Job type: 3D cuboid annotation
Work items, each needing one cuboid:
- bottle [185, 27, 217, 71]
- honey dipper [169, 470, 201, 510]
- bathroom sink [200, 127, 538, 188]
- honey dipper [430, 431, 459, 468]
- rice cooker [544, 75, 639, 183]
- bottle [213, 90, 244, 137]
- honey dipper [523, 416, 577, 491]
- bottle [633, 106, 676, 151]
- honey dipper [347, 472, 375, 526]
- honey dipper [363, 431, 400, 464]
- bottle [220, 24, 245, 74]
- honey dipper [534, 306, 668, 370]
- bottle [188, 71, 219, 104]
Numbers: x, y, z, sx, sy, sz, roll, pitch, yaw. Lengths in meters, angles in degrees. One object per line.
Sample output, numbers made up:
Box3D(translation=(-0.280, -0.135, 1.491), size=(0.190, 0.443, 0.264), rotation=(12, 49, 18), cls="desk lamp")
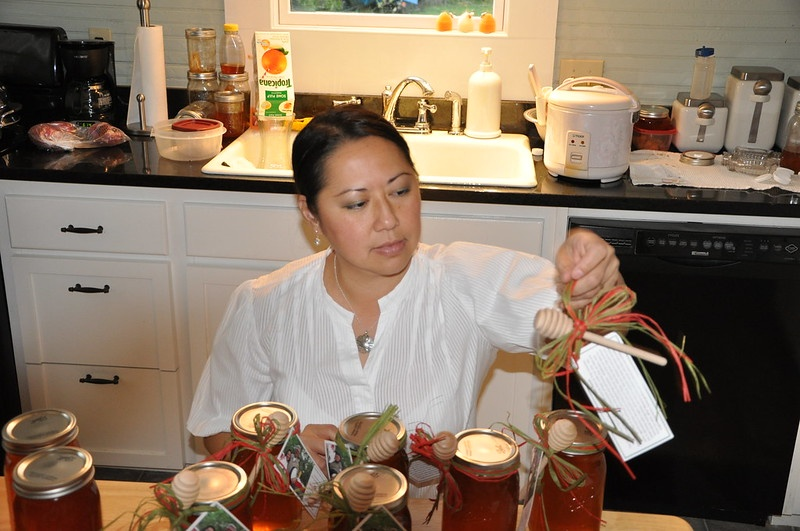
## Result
Box3D(translation=(-0.889, -0.963, 2.715), size=(0.163, 0.191, 0.160), rotation=(8, 26, 0), cls="bottle")
Box3D(translation=(-0.321, 0.329, 0.900), size=(0.037, 0.048, 0.050), rotation=(-11, 20, -30), cls="honey dipper")
Box3D(translation=(0.249, -0.471, 2.418), size=(0.760, 0.171, 0.455), rotation=(3, 26, 7), cls="bathroom sink")
Box3D(translation=(0.071, 0.292, 0.964), size=(0.047, 0.076, 0.044), rotation=(-5, 51, -2), cls="honey dipper")
Box3D(translation=(0.725, -0.526, 2.302), size=(0.415, 0.355, 0.406), rotation=(-13, 27, -24), cls="rice cooker")
Box3D(translation=(-0.753, -0.671, 2.665), size=(0.117, 0.186, 0.119), rotation=(5, 30, -3), cls="bottle")
Box3D(translation=(0.241, 0.290, 0.961), size=(0.050, 0.151, 0.045), rotation=(23, 14, -6), cls="honey dipper")
Box3D(translation=(1.048, -0.570, 2.518), size=(0.184, 0.170, 0.194), rotation=(-2, 13, -4), cls="bottle")
Box3D(translation=(-0.058, 0.353, 0.906), size=(0.026, 0.088, 0.024), rotation=(-37, 64, -25), cls="honey dipper")
Box3D(translation=(-0.029, 0.298, 0.981), size=(0.053, 0.062, 0.023), rotation=(1, 18, 4), cls="honey dipper")
Box3D(translation=(-0.743, -0.964, 2.687), size=(0.110, 0.211, 0.173), rotation=(-5, 18, -13), cls="bottle")
Box3D(translation=(0.329, 0.121, 0.935), size=(0.216, 0.052, 0.055), rotation=(18, -6, -10), cls="honey dipper")
Box3D(translation=(-0.864, -0.784, 2.679), size=(0.133, 0.134, 0.131), rotation=(2, 9, 2), cls="bottle")
